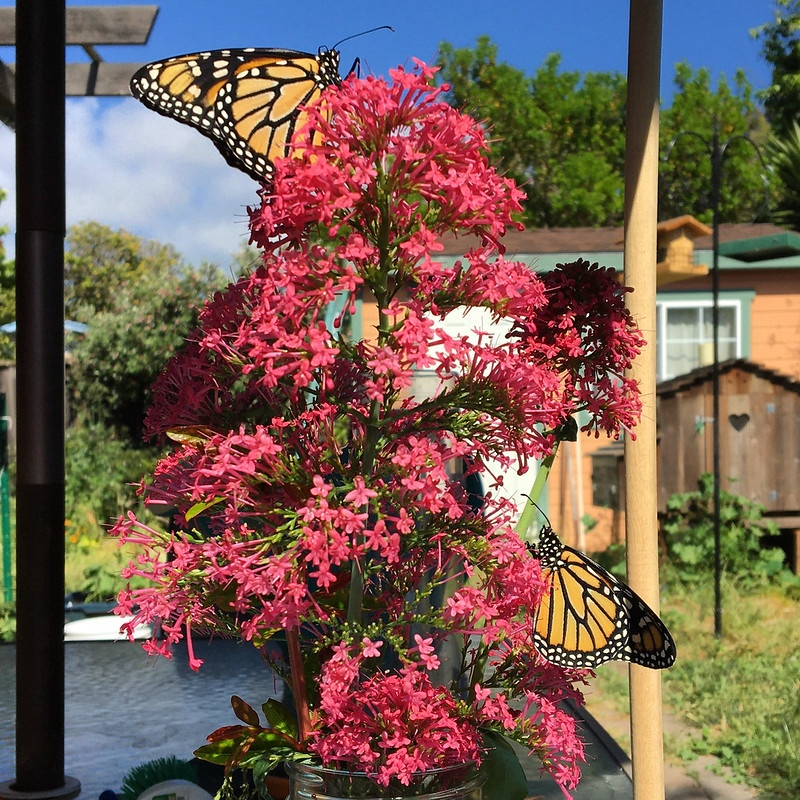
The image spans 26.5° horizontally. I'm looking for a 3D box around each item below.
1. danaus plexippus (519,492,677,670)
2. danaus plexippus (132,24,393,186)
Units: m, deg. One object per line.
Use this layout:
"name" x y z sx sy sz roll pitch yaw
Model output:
"danaus plexippus" 1.006 1.009 8.886 1.144 0.755 0.585 18 -4 -11
"danaus plexippus" -0.724 -1.563 8.801 1.405 0.742 0.520 -6 15 -17
